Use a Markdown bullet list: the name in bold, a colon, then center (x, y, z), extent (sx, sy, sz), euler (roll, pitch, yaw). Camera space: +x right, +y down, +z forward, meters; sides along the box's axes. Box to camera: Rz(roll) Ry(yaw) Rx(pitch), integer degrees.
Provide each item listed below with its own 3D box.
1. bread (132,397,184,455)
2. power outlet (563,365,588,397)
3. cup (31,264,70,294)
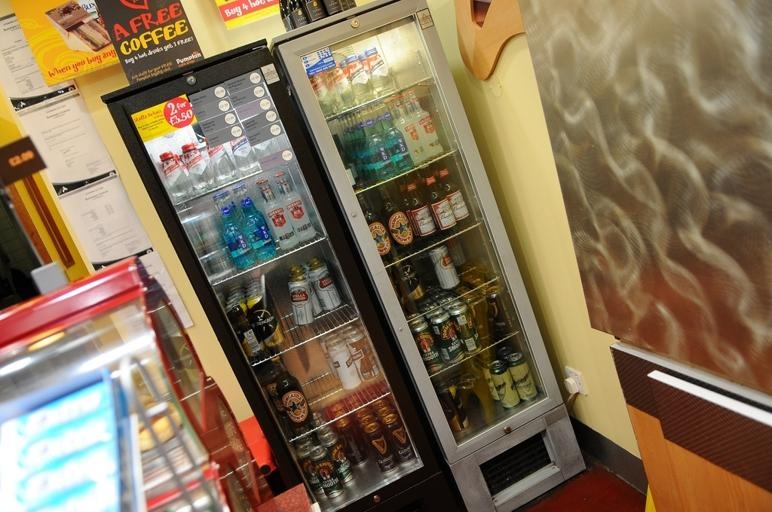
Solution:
- **bread**: center (-0.462, 0.350, 1.143), extent (0.025, 0.086, 0.087), euler (13, -5, 43)
- **power outlet**: center (0.933, 0.618, 2.757), extent (0.053, 0.157, 0.166), euler (-11, 15, -6)
- **cup**: center (-0.817, 0.057, 1.362), extent (0.068, 0.056, 0.132), euler (-26, 19, -30)
